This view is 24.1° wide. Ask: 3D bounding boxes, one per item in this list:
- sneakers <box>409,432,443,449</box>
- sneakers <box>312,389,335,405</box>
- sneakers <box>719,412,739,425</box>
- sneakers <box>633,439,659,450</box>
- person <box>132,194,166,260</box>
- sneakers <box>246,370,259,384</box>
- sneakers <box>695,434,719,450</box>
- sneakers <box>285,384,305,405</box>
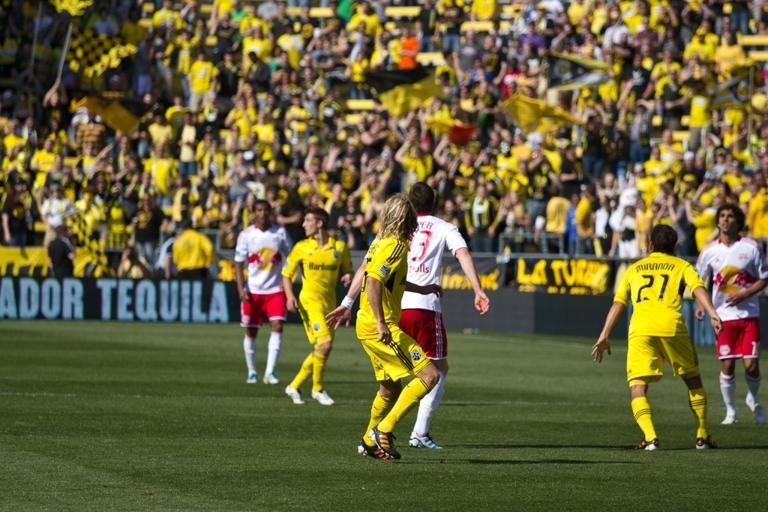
[{"bbox_3d":[0.715,3.254,31.826,0.612,0.281,0.226,5,2,-4],"label":"sneakers"},{"bbox_3d":[-1.144,2.678,34.346,0.470,0.198,0.193,13,13,37],"label":"sneakers"},{"bbox_3d":[6.481,3.060,33.836,0.134,0.189,0.413,1,-5,-10],"label":"sneakers"},{"bbox_3d":[4.643,3.349,32.032,0.170,0.189,0.447,-4,5,-45],"label":"sneakers"},{"bbox_3d":[-5.702,-0.681,43.553,0.744,1.728,0.501,2,0,22],"label":"person"},{"bbox_3d":[-2.638,2.406,36.061,0.245,0.222,0.517,0,1,-5],"label":"sneakers"},{"bbox_3d":[5.761,3.330,32.199,0.441,0.195,0.158,0,3,-45],"label":"sneakers"},{"bbox_3d":[-1.700,2.642,34.408,0.516,0.230,0.190,47,-8,15],"label":"sneakers"}]
